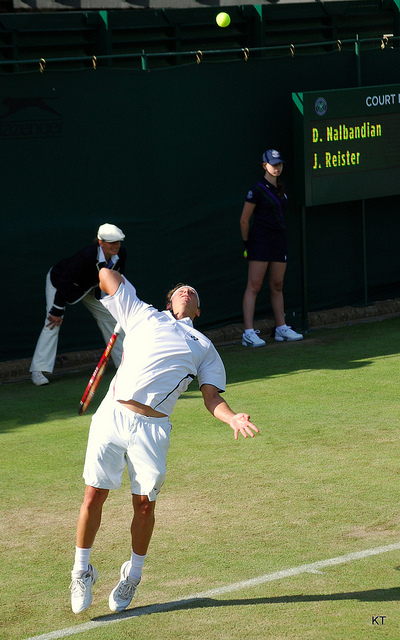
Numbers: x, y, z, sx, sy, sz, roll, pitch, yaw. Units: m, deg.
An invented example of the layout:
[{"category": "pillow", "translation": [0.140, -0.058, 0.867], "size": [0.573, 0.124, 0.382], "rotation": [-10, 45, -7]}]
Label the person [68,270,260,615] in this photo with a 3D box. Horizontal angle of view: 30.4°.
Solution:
[{"category": "person", "translation": [-0.242, 0.463, 3.113], "size": [0.732, 1.338, 0.624], "rotation": [-5, 7, -11]}]

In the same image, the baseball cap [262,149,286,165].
[{"category": "baseball cap", "translation": [0.850, -1.903, 8.686], "size": [0.232, 0.131, 0.332], "rotation": [-5, 19, -14]}]

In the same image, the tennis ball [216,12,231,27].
[{"category": "tennis ball", "translation": [0.285, -3.759, 9.240], "size": [0.141, 0.203, 0.256], "rotation": [-4, 6, 0]}]

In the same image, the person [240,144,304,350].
[{"category": "person", "translation": [0.842, -0.927, 9.160], "size": [0.755, 2.478, 1.042], "rotation": [-3, 7, 7]}]

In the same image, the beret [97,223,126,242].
[{"category": "beret", "translation": [-0.848, -0.796, 6.852], "size": [0.198, 0.096, 0.241], "rotation": [-13, 20, -26]}]
